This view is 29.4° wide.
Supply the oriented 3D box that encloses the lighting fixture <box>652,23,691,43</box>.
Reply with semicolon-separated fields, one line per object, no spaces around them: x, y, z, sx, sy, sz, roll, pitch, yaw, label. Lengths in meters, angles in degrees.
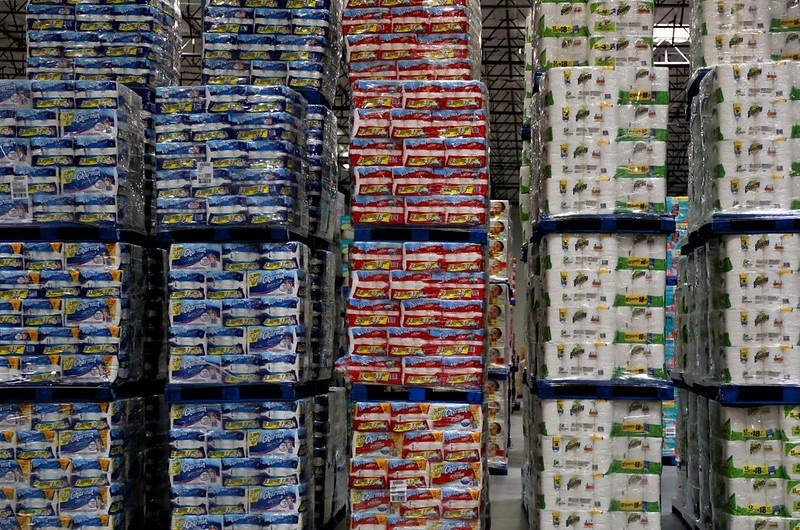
5.556;-4.750;30.918;0.656;0.336;0.774;-5;-5;5;lighting fixture
